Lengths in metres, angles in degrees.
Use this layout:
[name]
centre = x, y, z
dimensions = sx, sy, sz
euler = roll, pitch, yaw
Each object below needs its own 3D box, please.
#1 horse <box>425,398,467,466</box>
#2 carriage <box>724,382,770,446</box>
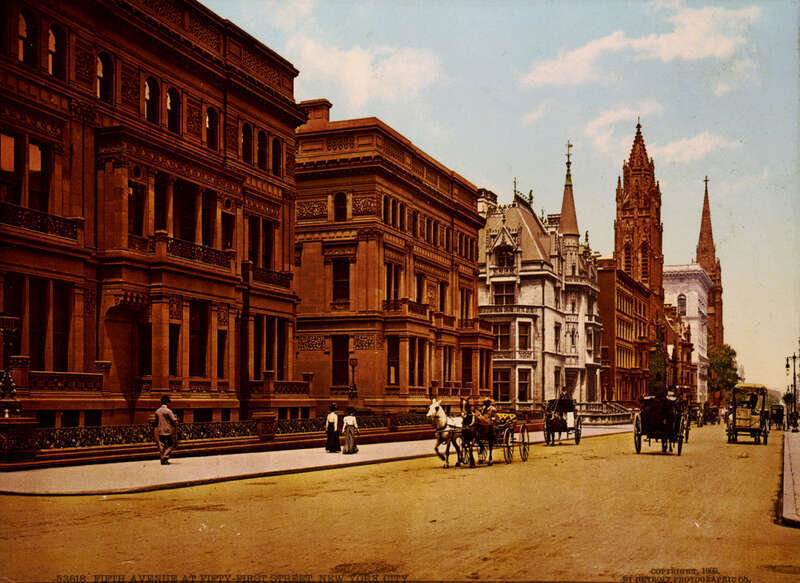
[horse]
centre = 1.890, 5.378, 39.183
dimensions = 1.383, 2.895, 1.254
euler = -4, -2, -17
[carriage]
centre = 18.589, 6.566, 54.998
dimensions = 2.038, 3.778, 6.683
euler = -5, -14, 19
